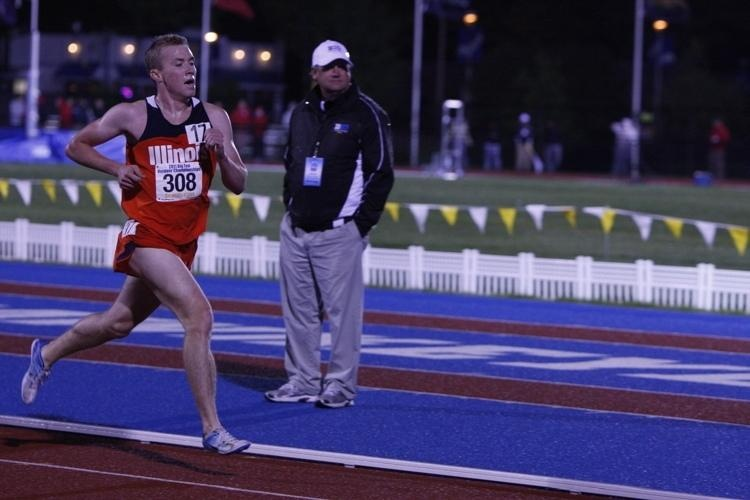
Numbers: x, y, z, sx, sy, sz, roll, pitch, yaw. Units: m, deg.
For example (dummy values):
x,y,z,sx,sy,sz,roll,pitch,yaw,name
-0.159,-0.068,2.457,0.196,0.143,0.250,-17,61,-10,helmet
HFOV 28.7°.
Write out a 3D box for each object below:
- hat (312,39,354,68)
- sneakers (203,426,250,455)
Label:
x,y,z,sx,sy,sz,roll,pitch,yaw,name
-0.588,-2.645,19.711,0.545,0.352,0.342,4,8,12,hat
-1.891,2.414,18.525,0.671,0.263,0.271,2,6,22,sneakers
